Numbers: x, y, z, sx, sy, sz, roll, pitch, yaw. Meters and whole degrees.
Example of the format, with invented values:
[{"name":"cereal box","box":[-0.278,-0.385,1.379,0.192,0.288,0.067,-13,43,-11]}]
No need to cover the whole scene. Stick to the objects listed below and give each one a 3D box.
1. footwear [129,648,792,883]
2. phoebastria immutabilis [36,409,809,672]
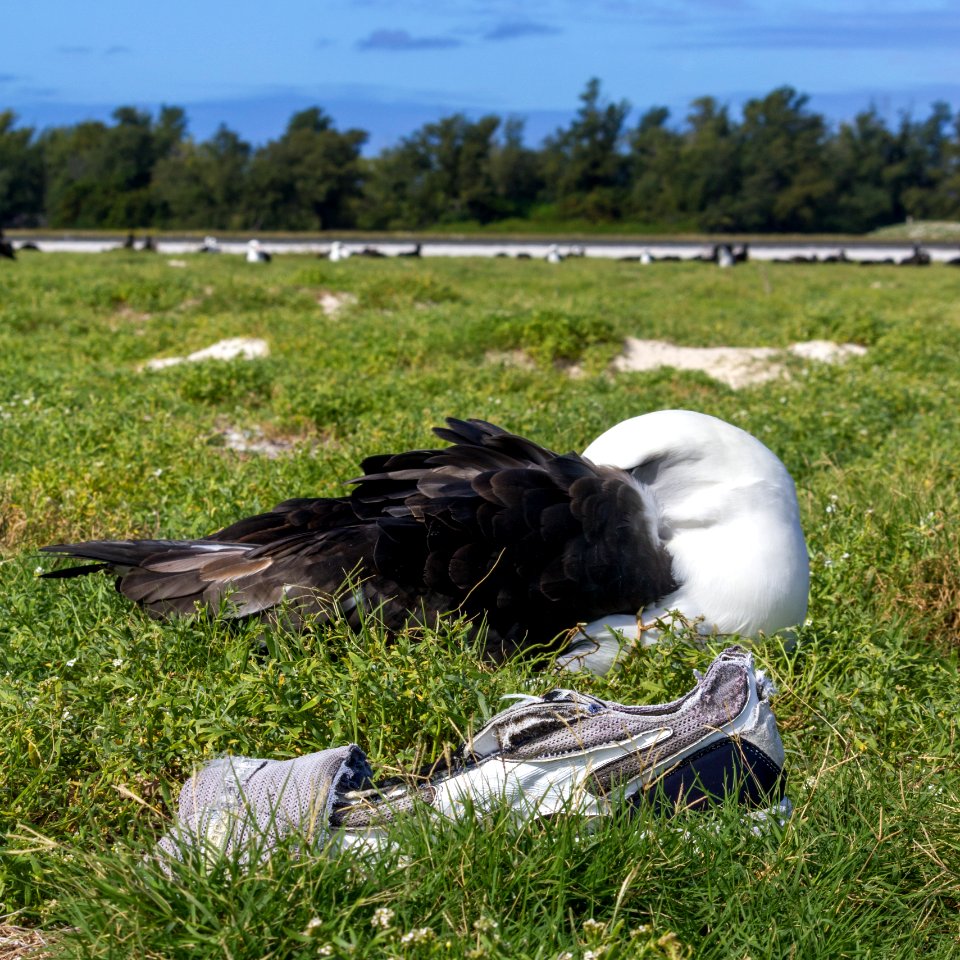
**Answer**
[{"name":"footwear","box":[0.037,0.697,3.454,1.576,0.521,0.424,1,10,-11]},{"name":"phoebastria immutabilis","box":[-0.189,0.154,4.680,2.395,1.010,1.063,12,-8,-2]}]
